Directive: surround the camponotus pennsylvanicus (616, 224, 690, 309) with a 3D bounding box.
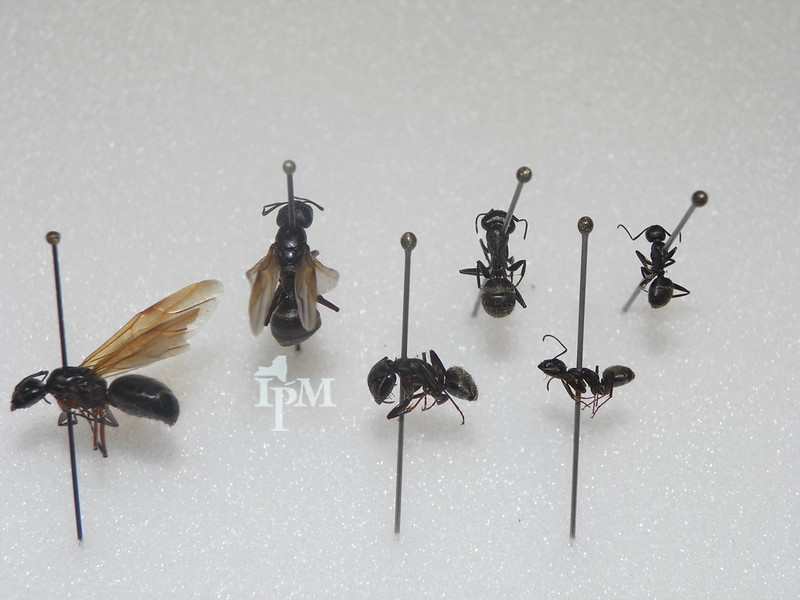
[{"bbox_3d":[1.123,-0.153,5.677,0.307,0.115,0.345,7,65,-22],"label":"camponotus pennsylvanicus"}]

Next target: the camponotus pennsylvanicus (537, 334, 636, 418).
[{"bbox_3d":[0.785,0.316,5.445,0.401,0.342,0.140,-1,6,0],"label":"camponotus pennsylvanicus"}]
